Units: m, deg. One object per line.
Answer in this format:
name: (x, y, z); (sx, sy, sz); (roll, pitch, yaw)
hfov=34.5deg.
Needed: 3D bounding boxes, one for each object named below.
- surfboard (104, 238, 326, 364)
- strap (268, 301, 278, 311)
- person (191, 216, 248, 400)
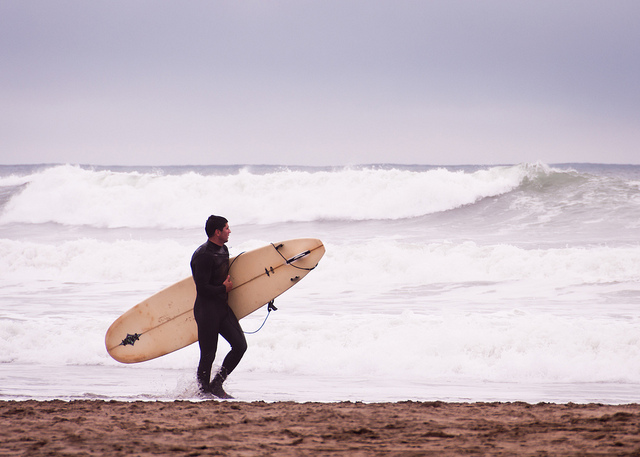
surfboard: (-2.156, 1.556, 20.315); (4.047, 2.499, 2.702); (-6, 11, -24)
strap: (-0.881, 1.493, 19.755); (0.067, 0.234, 0.059); (-43, 7, -14)
person: (-1.925, 1.485, 19.314); (1.002, 3.295, 0.409); (3, -1, -9)
